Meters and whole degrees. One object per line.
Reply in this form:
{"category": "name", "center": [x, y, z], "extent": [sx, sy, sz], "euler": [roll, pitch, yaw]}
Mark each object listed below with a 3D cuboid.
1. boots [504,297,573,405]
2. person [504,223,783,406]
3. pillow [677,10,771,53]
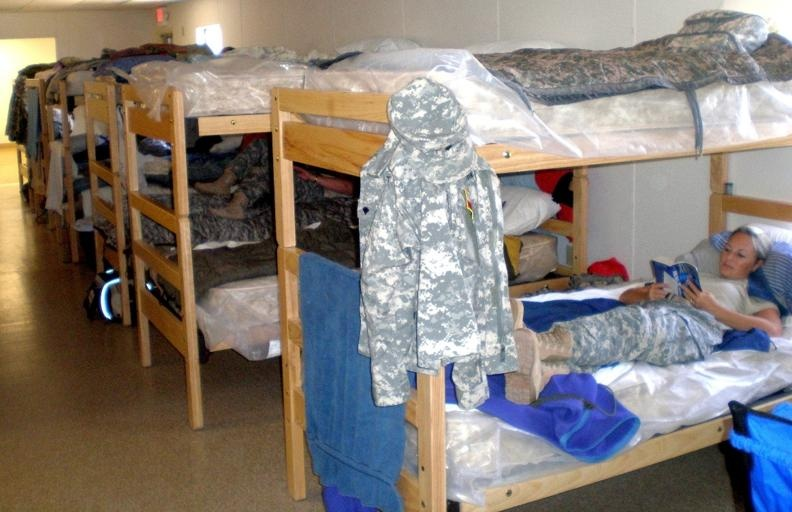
{"category": "boots", "center": [0.594, 0.374, 2.637], "extent": [0.185, 0.407, 0.355], "euler": [6, 16, 34]}
{"category": "person", "center": [1.126, 0.290, 3.074], "extent": [1.505, 0.544, 0.702], "euler": [-12, 15, -21]}
{"category": "pillow", "center": [1.589, -1.097, 3.093], "extent": [0.395, 0.217, 0.268], "euler": [7, 16, 34]}
